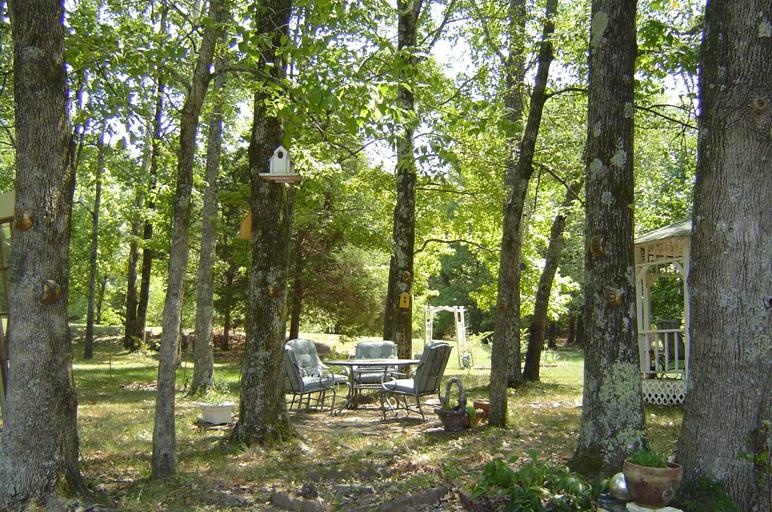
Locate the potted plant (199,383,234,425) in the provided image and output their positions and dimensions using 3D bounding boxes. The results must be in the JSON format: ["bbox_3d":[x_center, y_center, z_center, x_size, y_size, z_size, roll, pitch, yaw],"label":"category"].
[{"bbox_3d":[-2.909,2.677,12.992,0.414,0.325,0.999,1,-8,-25],"label":"potted plant"}]

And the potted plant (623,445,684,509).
[{"bbox_3d":[2.898,2.431,8.251,0.552,0.448,0.594,3,-13,-3],"label":"potted plant"}]

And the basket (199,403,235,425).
[{"bbox_3d":[-2.785,2.637,12.687,0.338,0.272,0.424,-2,-4,41],"label":"basket"}]

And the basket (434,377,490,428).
[{"bbox_3d":[1.248,2.616,12.995,0.704,0.699,0.976,2,-17,-11],"label":"basket"}]
